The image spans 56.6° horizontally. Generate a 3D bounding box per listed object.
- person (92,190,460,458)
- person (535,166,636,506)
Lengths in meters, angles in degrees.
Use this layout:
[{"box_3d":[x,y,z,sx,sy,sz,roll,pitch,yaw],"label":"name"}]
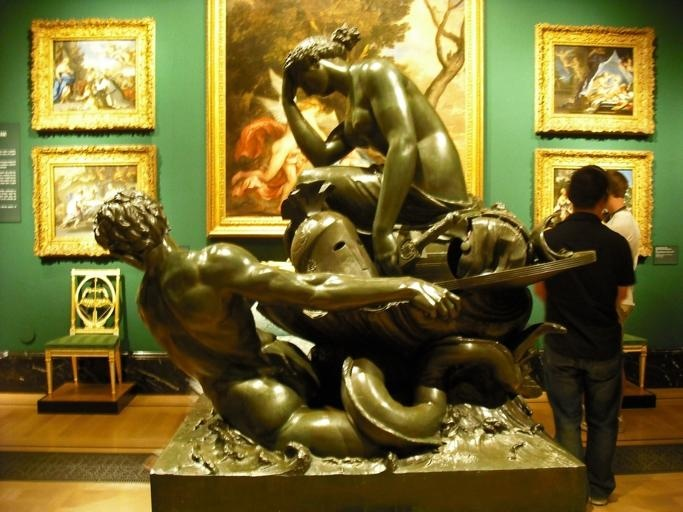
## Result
[{"box_3d":[-0.273,0.428,3.428,1.957,0.787,1.163,15,-26,-29],"label":"person"},{"box_3d":[1.632,0.716,4.339,0.582,1.989,0.411,5,15,21],"label":"person"}]
